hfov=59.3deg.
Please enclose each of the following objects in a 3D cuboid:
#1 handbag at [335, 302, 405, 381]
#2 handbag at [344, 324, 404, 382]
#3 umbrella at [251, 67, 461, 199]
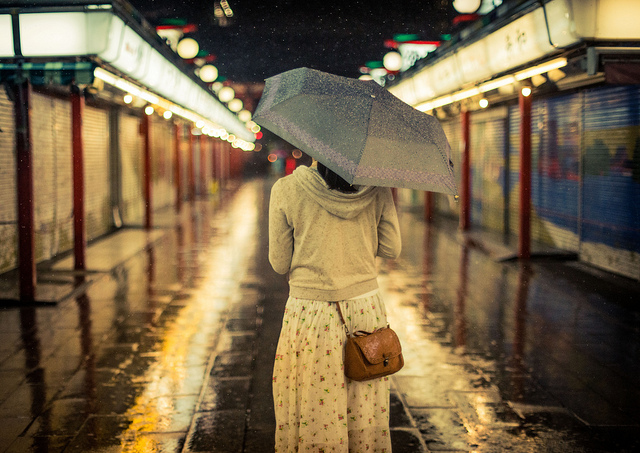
[{"bbox_3d":[0.432,0.937,4.848,0.456,0.768,0.333,-7,-3,-31],"label":"handbag"},{"bbox_3d":[0.477,1.085,4.816,0.476,0.438,0.248,-5,-7,-34],"label":"handbag"},{"bbox_3d":[0.293,-0.800,4.689,1.618,1.042,0.771,-1,11,-4],"label":"umbrella"}]
